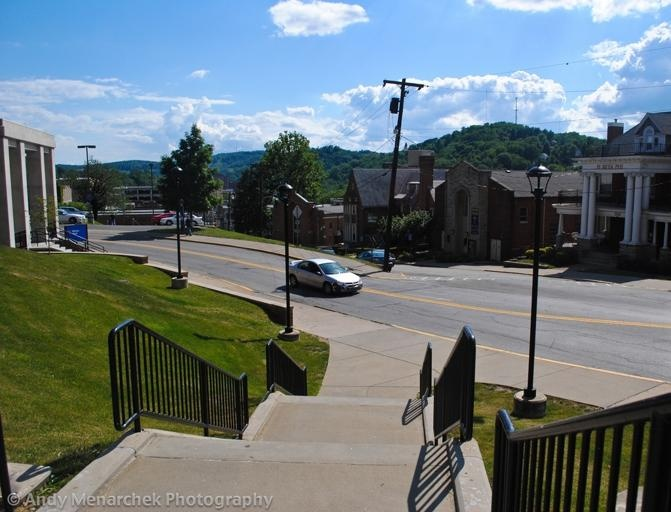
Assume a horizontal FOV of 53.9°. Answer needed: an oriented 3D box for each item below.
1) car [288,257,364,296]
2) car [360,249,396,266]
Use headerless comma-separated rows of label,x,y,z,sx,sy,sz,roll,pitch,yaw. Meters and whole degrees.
car,-0.458,0.839,28.464,1.451,1.146,3.109,-3,4,-42
car,2.818,-0.029,48.694,1.443,1.252,2.363,-4,12,-38
